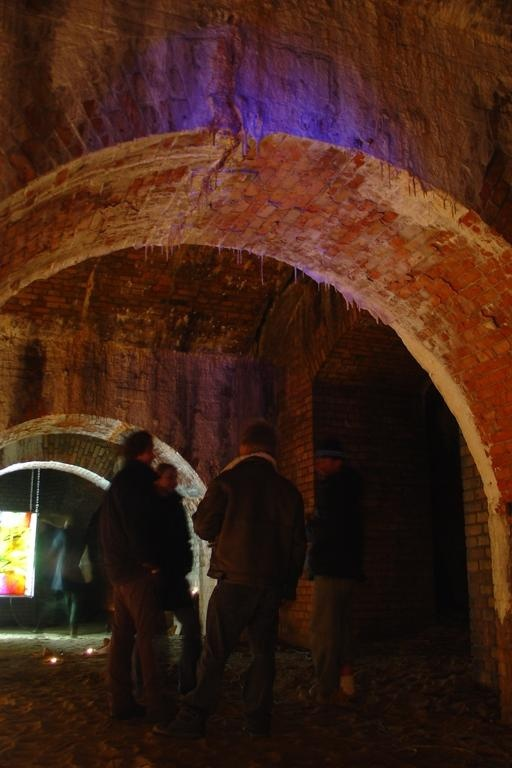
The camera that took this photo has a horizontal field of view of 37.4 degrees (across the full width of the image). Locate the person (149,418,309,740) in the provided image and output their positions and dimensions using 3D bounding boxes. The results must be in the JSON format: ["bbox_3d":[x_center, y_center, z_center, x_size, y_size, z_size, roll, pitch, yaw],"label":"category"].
[{"bbox_3d":[-0.037,0.946,3.863,0.585,1.599,0.361,4,-15,-7],"label":"person"}]
